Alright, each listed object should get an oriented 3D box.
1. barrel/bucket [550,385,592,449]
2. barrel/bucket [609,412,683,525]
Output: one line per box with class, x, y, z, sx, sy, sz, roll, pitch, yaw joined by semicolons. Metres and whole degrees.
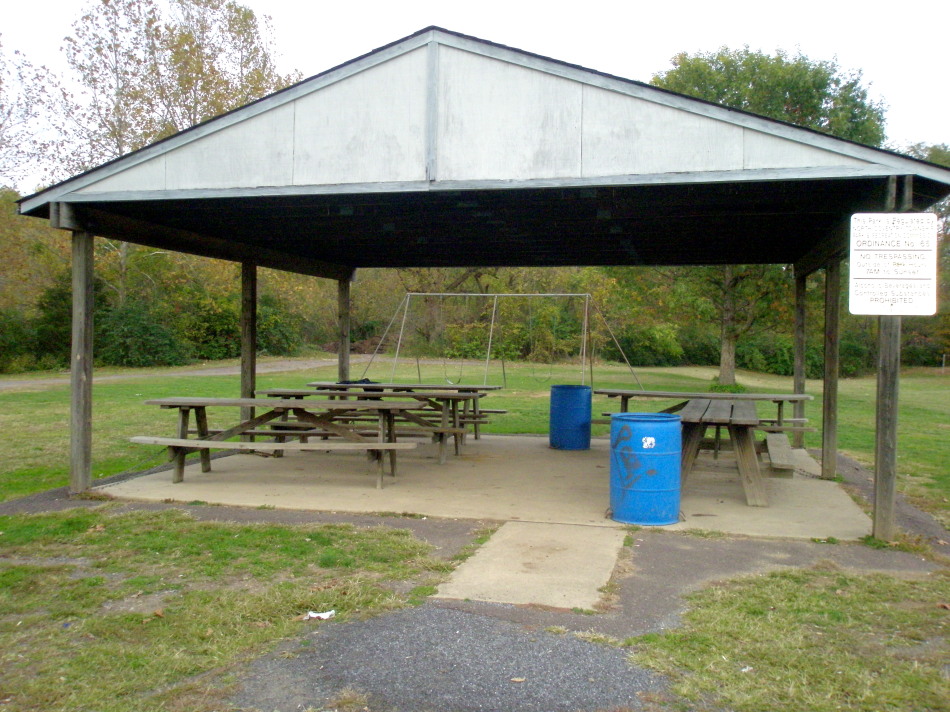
barrel/bucket;1.337;0.838;10.846;0.733;0.870;0.541;3;4;20
barrel/bucket;1.526;0.975;6.964;0.624;0.946;0.662;-2;4;0
